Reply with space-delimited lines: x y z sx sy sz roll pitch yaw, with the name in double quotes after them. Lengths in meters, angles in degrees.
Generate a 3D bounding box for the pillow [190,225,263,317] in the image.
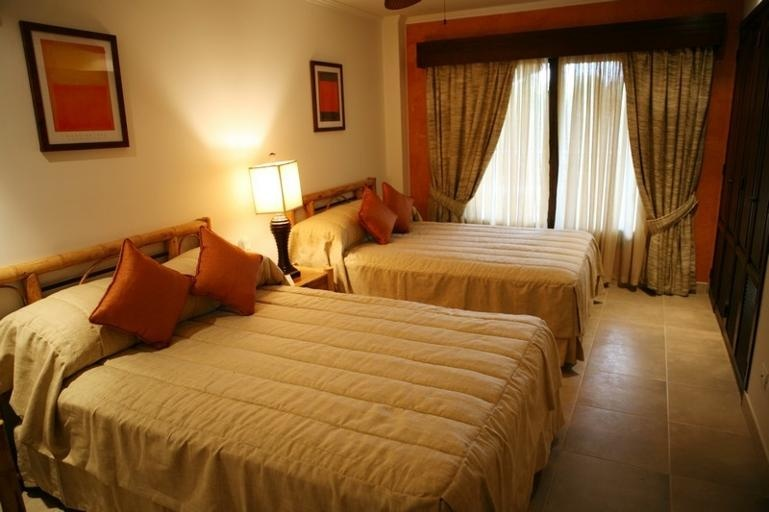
-1.141 0.127 4.041 0.598 0.567 0.182 24 -17 -26 "pillow"

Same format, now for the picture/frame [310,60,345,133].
-0.615 -1.664 5.807 0.055 0.776 0.723 2 11 24 "picture/frame"

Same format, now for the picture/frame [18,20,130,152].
-2.162 -1.172 3.835 0.077 1.108 0.800 6 16 33 "picture/frame"

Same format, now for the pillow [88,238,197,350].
-1.575 0.284 3.646 0.199 0.622 0.658 -8 -33 45 "pillow"
